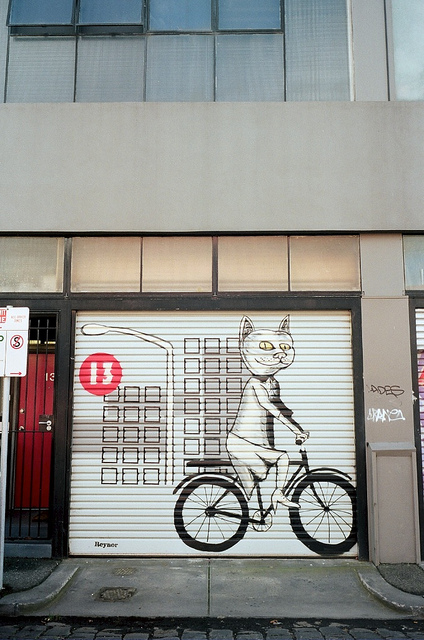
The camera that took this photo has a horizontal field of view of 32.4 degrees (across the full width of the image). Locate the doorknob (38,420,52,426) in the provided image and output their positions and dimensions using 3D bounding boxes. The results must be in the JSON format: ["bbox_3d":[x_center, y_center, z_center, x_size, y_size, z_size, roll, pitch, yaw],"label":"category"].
[{"bbox_3d":[-1.883,1.161,8.187,0.130,0.065,0.015,0,5,-13],"label":"doorknob"}]
